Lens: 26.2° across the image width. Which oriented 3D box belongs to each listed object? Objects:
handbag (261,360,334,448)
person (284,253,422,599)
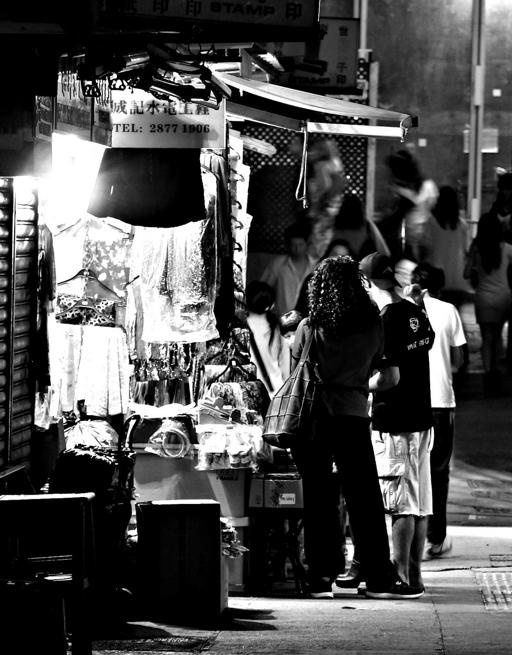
[{"bbox_3d":[0.196,0.352,4.826,0.187,0.436,0.329,18,9,-12],"label":"handbag"},{"bbox_3d":[0.418,0.487,4.818,0.517,1.540,0.454,-1,-30,4],"label":"person"}]
